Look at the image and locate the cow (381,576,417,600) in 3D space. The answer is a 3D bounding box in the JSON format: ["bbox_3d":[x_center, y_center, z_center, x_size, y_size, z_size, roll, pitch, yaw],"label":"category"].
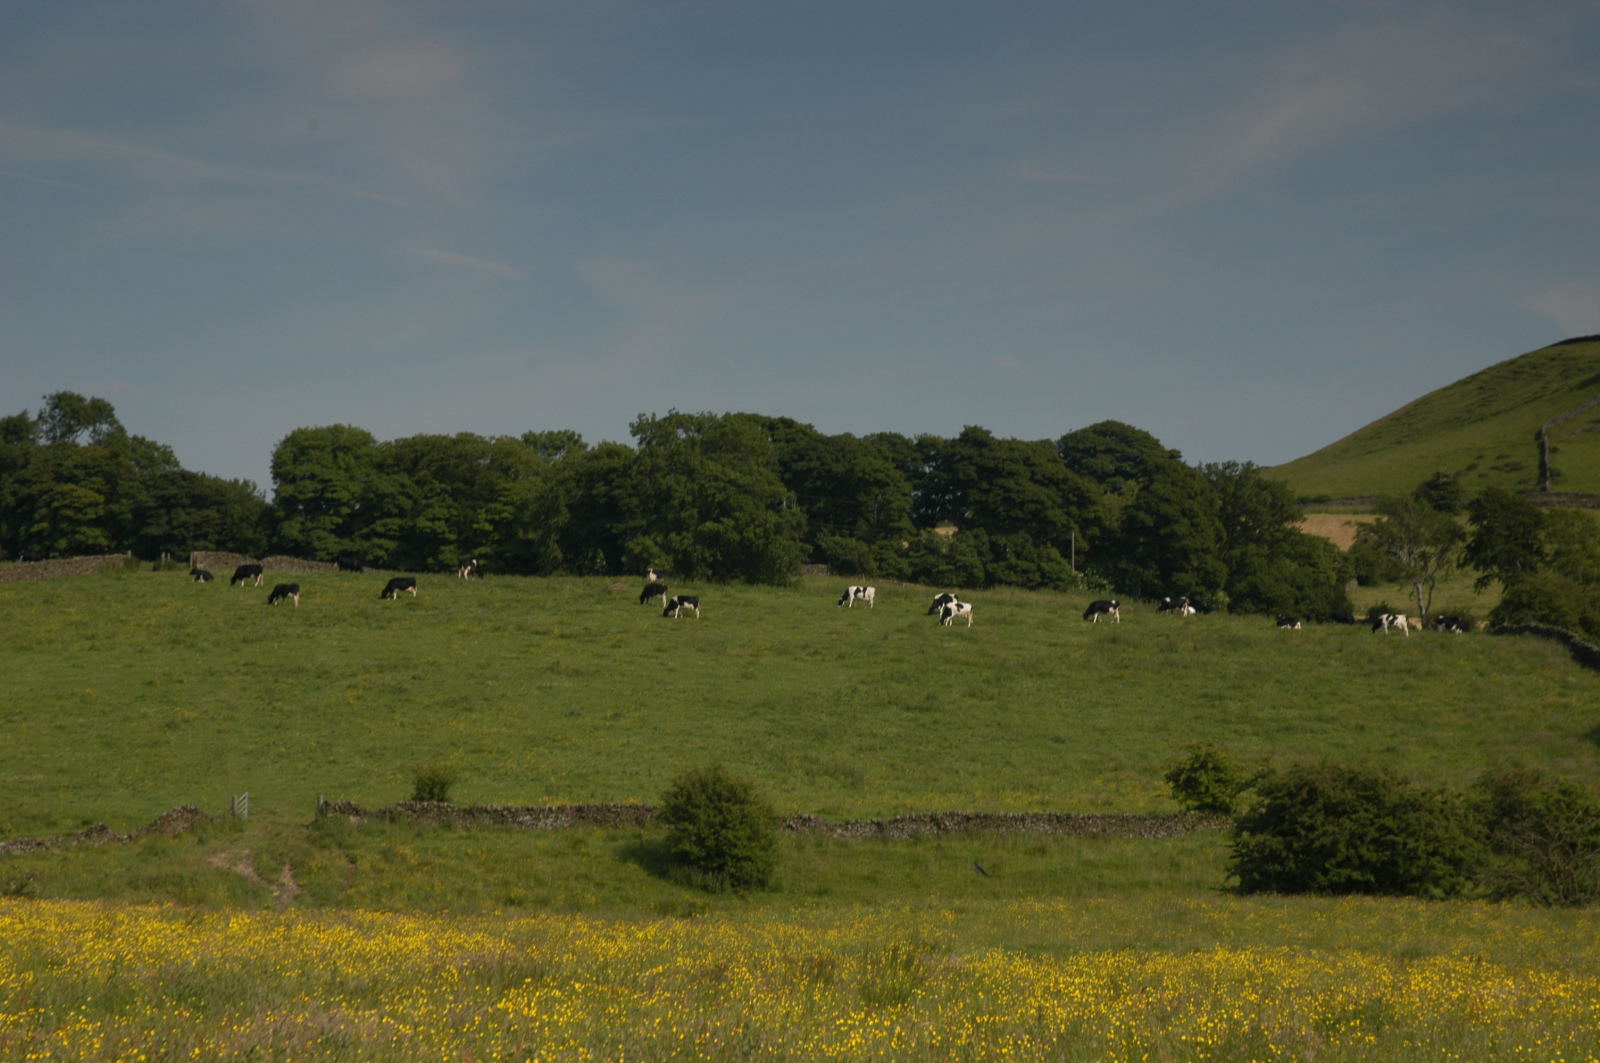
[{"bbox_3d":[-28.703,4.049,183.689,2.079,1.820,3.678,-2,-4,24],"label":"cow"}]

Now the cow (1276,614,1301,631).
[{"bbox_3d":[36.070,7.240,191.149,1.435,1.434,1.674,3,5,4],"label":"cow"}]

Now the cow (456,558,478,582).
[{"bbox_3d":[-26.666,3.141,204.449,0.832,1.315,3.249,2,8,12],"label":"cow"}]
